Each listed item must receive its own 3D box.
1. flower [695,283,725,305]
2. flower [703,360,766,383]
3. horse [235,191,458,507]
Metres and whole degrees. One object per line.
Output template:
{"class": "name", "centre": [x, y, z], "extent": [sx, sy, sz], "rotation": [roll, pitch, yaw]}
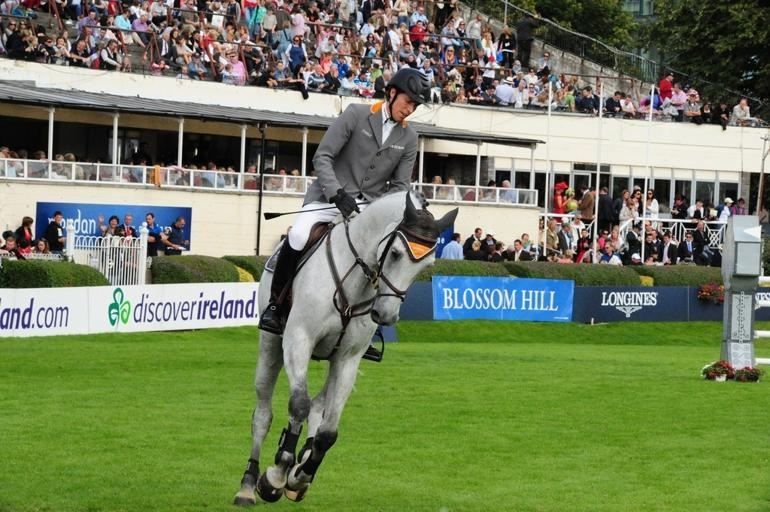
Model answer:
{"class": "flower", "centre": [12.222, 1.360, 58.070], "extent": [0.802, 0.564, 0.835], "rotation": [5, -3, -33]}
{"class": "flower", "centre": [10.058, 3.384, 44.869], "extent": [1.034, 0.437, 0.815], "rotation": [5, -5, -2]}
{"class": "horse", "centre": [-0.988, 2.721, 40.566], "extent": [3.151, 8.474, 12.077], "rotation": [19, -23, -20]}
